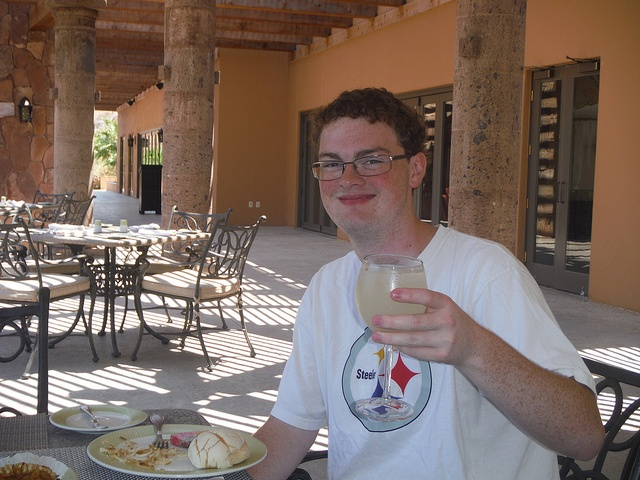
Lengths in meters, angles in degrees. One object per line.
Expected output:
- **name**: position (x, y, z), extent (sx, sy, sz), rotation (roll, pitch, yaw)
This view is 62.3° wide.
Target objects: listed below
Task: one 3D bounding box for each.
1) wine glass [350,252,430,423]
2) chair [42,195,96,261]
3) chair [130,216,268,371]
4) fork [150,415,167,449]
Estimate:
- **wine glass**: position (0.152, 0.225, 1.071), extent (0.155, 0.375, 0.142), rotation (2, 7, -15)
- **chair**: position (-3.120, -0.161, 6.529), extent (0.568, 1.008, 0.578), rotation (6, 8, 34)
- **chair**: position (-1.085, 0.402, 4.713), extent (0.933, 1.379, 0.817), rotation (6, 5, 29)
- **fork**: position (-0.360, 0.423, 1.175), extent (0.029, 0.084, 0.018), rotation (0, -13, -13)
